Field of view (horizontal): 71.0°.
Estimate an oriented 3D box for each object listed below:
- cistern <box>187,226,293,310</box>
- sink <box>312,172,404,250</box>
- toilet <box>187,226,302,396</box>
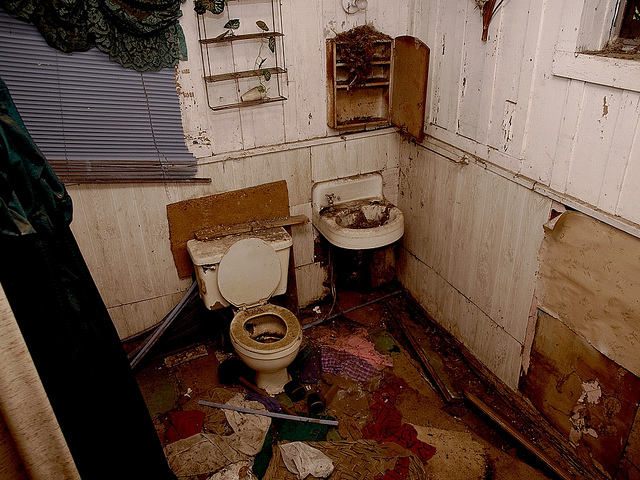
[{"bbox_3d":[-0.516,0.162,3.265,0.695,0.499,0.424,-10,35,-6],"label":"cistern"},{"bbox_3d":[0.275,-0.229,3.377,0.644,0.332,0.607,-8,30,-6],"label":"sink"},{"bbox_3d":[-0.453,0.384,3.024,0.682,0.732,0.818,-13,31,-17],"label":"toilet"}]
